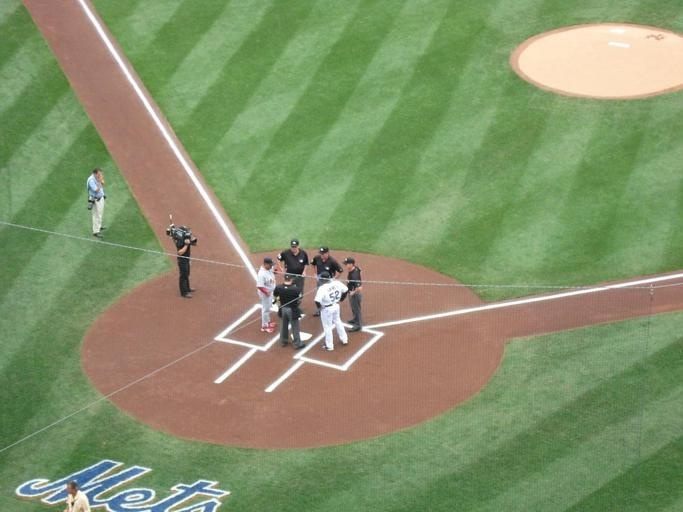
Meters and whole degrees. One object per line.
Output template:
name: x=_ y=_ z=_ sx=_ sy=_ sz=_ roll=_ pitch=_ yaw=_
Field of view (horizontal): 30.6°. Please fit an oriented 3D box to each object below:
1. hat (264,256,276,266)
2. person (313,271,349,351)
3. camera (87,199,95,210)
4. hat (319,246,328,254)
hat: x=-1.749 y=0.166 z=29.962 sx=0.298 sy=0.161 sz=0.212 roll=-3 pitch=41 yaw=-3
person: x=-0.219 y=1.397 z=29.848 sx=0.808 sy=1.363 sz=1.438 roll=-5 pitch=45 yaw=-1
camera: x=-6.843 y=-1.381 z=33.767 sx=0.266 sy=0.335 sz=0.082 roll=3 pitch=12 yaw=-4
hat: x=-0.497 y=-0.112 z=30.642 sx=0.243 sy=0.117 sz=0.172 roll=11 pitch=25 yaw=2
